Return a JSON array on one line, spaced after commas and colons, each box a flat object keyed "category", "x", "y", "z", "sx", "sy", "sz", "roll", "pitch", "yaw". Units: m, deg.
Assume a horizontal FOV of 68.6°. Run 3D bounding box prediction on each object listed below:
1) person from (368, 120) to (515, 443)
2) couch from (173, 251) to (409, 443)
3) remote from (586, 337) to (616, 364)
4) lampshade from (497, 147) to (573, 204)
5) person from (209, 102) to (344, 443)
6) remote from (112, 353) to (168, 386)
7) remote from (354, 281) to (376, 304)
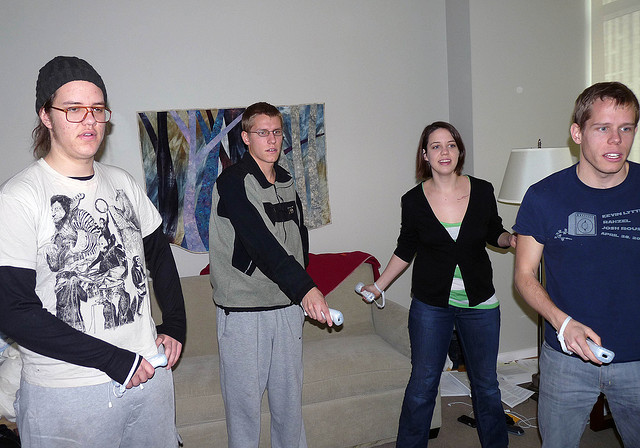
[{"category": "person", "x": 0.786, "y": 0.350, "z": 2.888, "sx": 0.731, "sy": 1.932, "sz": 0.444, "roll": -3, "pitch": 10, "yaw": 4}, {"category": "couch", "x": -0.159, "y": 0.986, "z": 3.390, "sx": 1.823, "sy": 1.345, "sz": 1.089, "roll": -2, "pitch": 3, "yaw": -9}, {"category": "remote", "x": 1.118, "y": 0.504, "z": 1.885, "sx": 0.070, "sy": 0.129, "sz": 0.031, "roll": -41, "pitch": -29, "yaw": 6}, {"category": "lampshade", "x": 1.602, "y": -0.317, "z": 3.526, "sx": 0.501, "sy": 0.476, "sz": 0.526, "roll": 5, "pitch": 4, "yaw": 10}, {"category": "person", "x": -0.266, "y": 0.292, "z": 2.510, "sx": 0.683, "sy": 1.884, "sz": 0.589, "roll": 0, "pitch": 10, "yaw": 17}, {"category": "remote", "x": -0.659, "y": 0.545, "z": 1.768, "sx": 0.116, "sy": 0.121, "sz": 0.039, "roll": -24, "pitch": -10, "yaw": -17}, {"category": "remote", "x": 0.270, "y": 0.427, "z": 2.952, "sx": 0.148, "sy": 0.094, "sz": 0.053, "roll": 38, "pitch": 14, "yaw": 24}]
